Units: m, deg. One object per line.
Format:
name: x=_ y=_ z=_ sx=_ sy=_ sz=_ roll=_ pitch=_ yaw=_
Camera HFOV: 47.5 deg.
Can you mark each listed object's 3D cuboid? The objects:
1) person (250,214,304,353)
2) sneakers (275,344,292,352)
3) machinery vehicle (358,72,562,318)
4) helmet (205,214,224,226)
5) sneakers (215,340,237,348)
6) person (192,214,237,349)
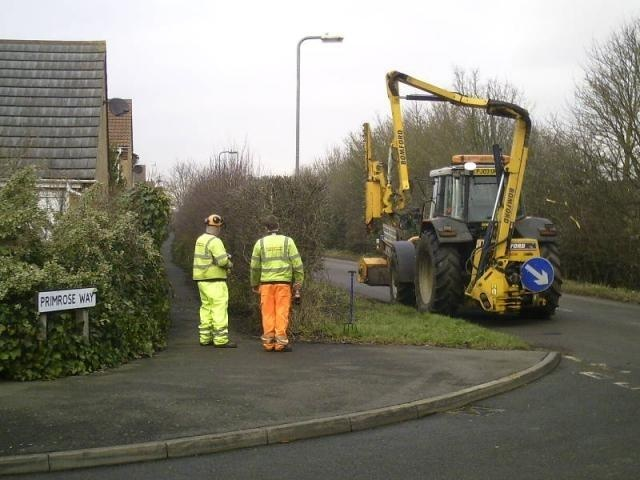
person: x=-0.770 y=0.745 z=12.434 sx=0.860 sy=2.124 sz=0.891 roll=3 pitch=7 yaw=9
sneakers: x=-0.605 y=1.796 z=12.177 sx=0.302 sy=0.132 sz=0.154 roll=0 pitch=8 yaw=-14
machinery vehicle: x=2.853 y=-1.187 z=18.079 sx=2.678 sy=5.540 sz=8.127 roll=4 pitch=3 yaw=-20
helmet: x=-2.088 y=-0.393 z=14.563 sx=0.437 sy=0.296 sz=0.616 roll=1 pitch=0 yaw=-12
sneakers: x=-1.603 y=1.788 z=12.448 sx=0.351 sy=0.181 sz=0.136 roll=-3 pitch=3 yaw=-7
person: x=-1.887 y=0.766 z=12.931 sx=0.667 sy=2.369 sz=1.543 roll=0 pitch=8 yaw=-9
